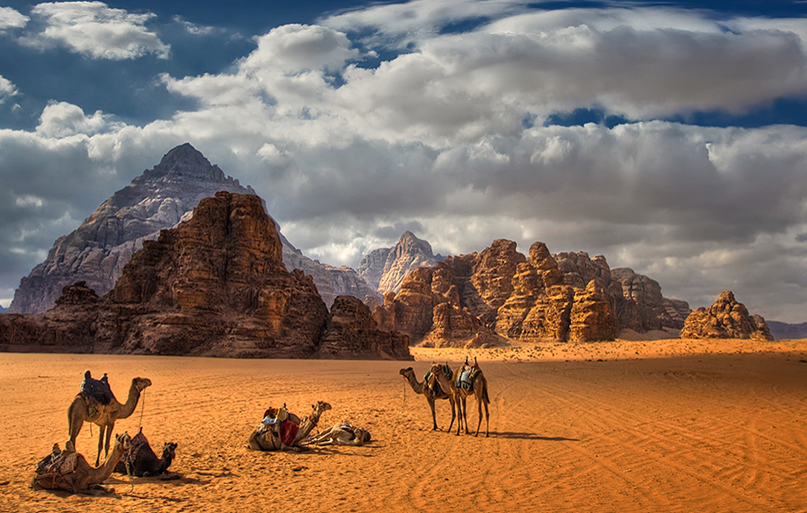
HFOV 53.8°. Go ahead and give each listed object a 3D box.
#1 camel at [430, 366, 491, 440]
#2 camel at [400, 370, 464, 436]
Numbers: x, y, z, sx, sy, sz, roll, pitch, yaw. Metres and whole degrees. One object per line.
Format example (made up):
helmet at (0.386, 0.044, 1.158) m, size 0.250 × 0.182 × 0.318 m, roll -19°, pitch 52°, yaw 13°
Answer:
camel at (4.049, 10.153, 55.985) m, size 2.035 × 4.862 × 6.291 m, roll 10°, pitch -13°, yaw -42°
camel at (1.285, 9.826, 58.911) m, size 6.980 × 5.580 × 2.323 m, roll 1°, pitch -8°, yaw 23°
